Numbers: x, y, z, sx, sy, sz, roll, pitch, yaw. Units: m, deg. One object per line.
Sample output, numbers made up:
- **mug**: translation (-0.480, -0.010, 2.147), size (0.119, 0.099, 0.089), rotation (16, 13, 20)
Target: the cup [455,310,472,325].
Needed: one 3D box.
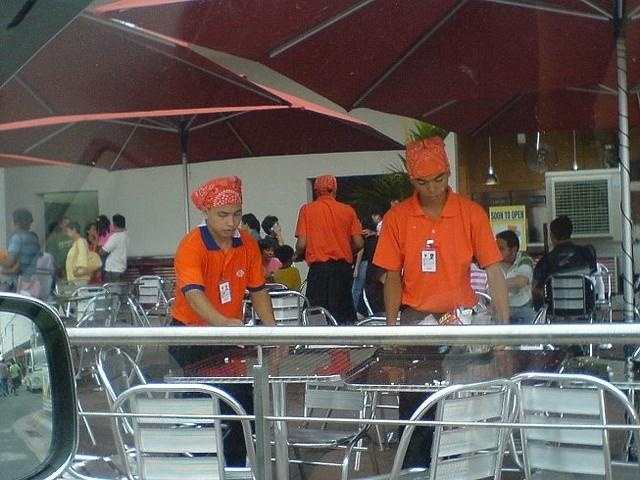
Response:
- **cup**: translation (0.692, 0.364, 3.614), size (0.085, 0.098, 0.068), rotation (0, -1, 1)
